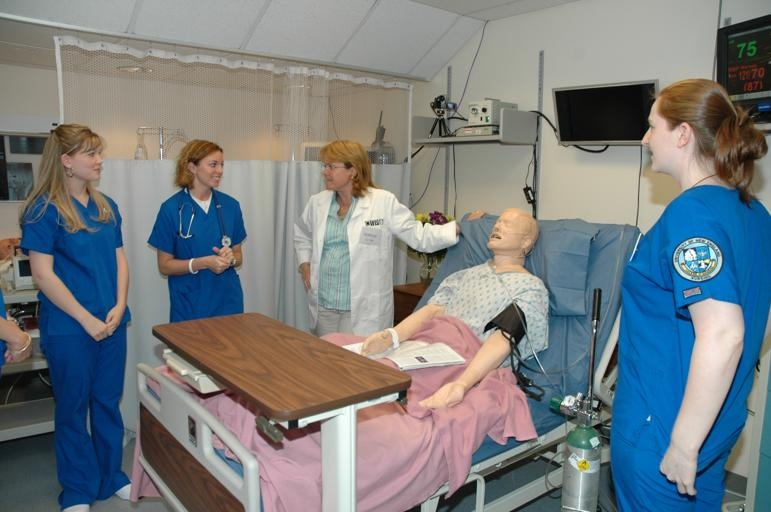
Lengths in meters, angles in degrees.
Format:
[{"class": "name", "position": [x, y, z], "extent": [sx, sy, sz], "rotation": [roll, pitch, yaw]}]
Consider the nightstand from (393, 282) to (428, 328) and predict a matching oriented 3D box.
[{"class": "nightstand", "position": [0.182, 0.347, 4.734], "extent": [0.282, 0.395, 0.390], "rotation": [-4, 9, -27]}]

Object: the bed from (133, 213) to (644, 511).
[{"class": "bed", "position": [0.196, 0.482, 3.068], "extent": [2.536, 1.583, 1.433], "rotation": [-4, 6, -42]}]

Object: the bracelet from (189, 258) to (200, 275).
[{"class": "bracelet", "position": [-1.213, 0.068, 3.618], "extent": [0.030, 0.087, 0.063], "rotation": [-3, 14, -8]}]

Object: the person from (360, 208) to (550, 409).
[{"class": "person", "position": [0.454, 0.268, 3.353], "extent": [0.904, 0.603, 1.390], "rotation": [13, 39, 41]}]

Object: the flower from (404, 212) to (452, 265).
[{"class": "flower", "position": [0.326, -0.167, 4.462], "extent": [0.365, 0.391, 0.364], "rotation": [-8, 14, -32]}]

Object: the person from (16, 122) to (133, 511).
[{"class": "person", "position": [-1.774, 0.366, 3.342], "extent": [0.538, 2.224, 0.447], "rotation": [-6, 13, -33]}]

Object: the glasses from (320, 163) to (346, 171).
[{"class": "glasses", "position": [-0.324, -0.591, 3.792], "extent": [0.191, 0.077, 0.059], "rotation": [1, 11, -5]}]

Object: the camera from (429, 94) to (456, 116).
[{"class": "camera", "position": [0.484, -1.326, 5.086], "extent": [0.163, 0.205, 0.276], "rotation": [9, 10, 41]}]

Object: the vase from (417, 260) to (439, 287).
[{"class": "vase", "position": [0.338, 0.128, 4.535], "extent": [0.164, 0.299, 0.194], "rotation": [1, 7, 4]}]

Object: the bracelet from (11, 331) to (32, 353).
[{"class": "bracelet", "position": [-1.809, 0.426, 2.817], "extent": [0.089, 0.108, 0.057], "rotation": [-4, 7, -2]}]
